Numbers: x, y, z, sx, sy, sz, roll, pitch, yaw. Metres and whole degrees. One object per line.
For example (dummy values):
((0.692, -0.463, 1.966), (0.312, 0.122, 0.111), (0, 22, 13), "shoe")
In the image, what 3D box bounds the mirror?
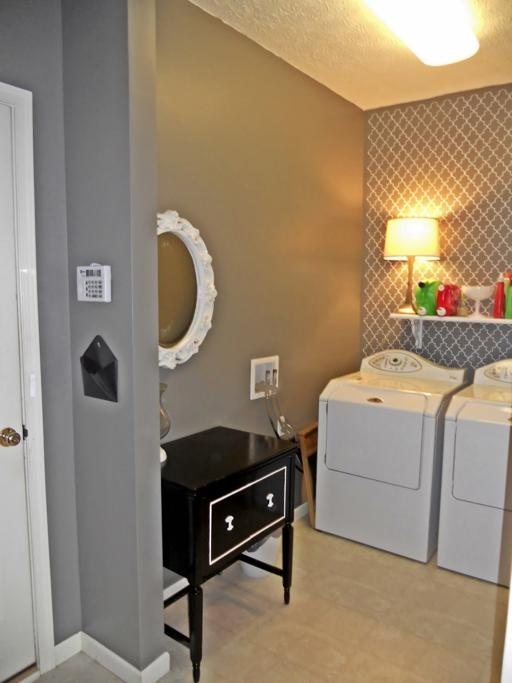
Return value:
((-0.288, -0.227, 2.234), (0.039, 0.563, 0.524), (3, -12, 24), "mirror")

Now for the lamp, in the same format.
((0.956, -0.469, 3.377), (0.326, 0.590, 0.359), (3, 6, 18), "lamp")

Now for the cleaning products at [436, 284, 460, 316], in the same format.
((1.121, -0.239, 3.220), (0.135, 0.185, 0.110), (3, 6, 20), "cleaning products")
